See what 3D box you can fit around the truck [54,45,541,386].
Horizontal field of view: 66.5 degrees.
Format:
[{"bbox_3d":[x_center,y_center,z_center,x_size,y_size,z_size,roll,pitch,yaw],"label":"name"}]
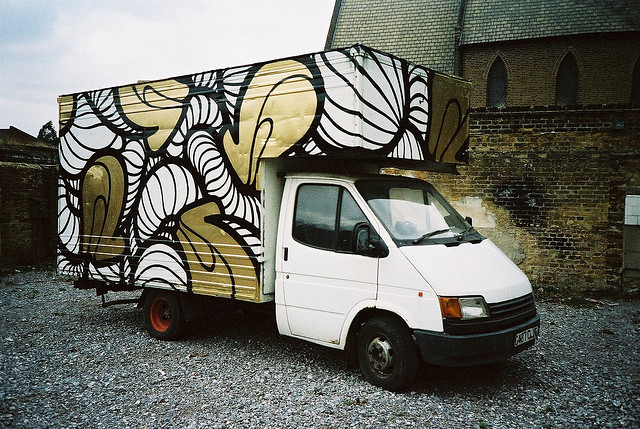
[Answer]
[{"bbox_3d":[-0.718,0.052,9.432,8.514,4.673,3.584,2,-2,33],"label":"truck"}]
